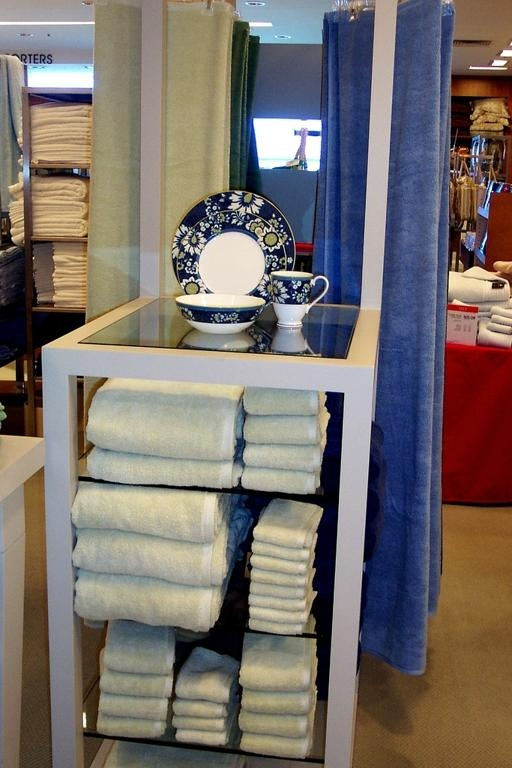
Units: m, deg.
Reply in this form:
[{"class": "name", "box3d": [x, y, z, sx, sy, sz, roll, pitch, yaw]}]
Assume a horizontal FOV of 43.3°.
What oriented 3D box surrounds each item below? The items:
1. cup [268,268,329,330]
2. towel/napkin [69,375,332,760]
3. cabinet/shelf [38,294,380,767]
[{"class": "cup", "box3d": [0.060, -0.142, 1.120, 0.140, 0.130, 0.114, -1, 12, -7]}, {"class": "towel/napkin", "box3d": [-0.101, 0.266, 1.274, 0.526, 0.678, 0.479, 2, 7, 5]}, {"class": "cabinet/shelf", "box3d": [-0.071, 0.286, 1.107, 0.498, 0.761, 0.305, 4, 13, 8]}]
